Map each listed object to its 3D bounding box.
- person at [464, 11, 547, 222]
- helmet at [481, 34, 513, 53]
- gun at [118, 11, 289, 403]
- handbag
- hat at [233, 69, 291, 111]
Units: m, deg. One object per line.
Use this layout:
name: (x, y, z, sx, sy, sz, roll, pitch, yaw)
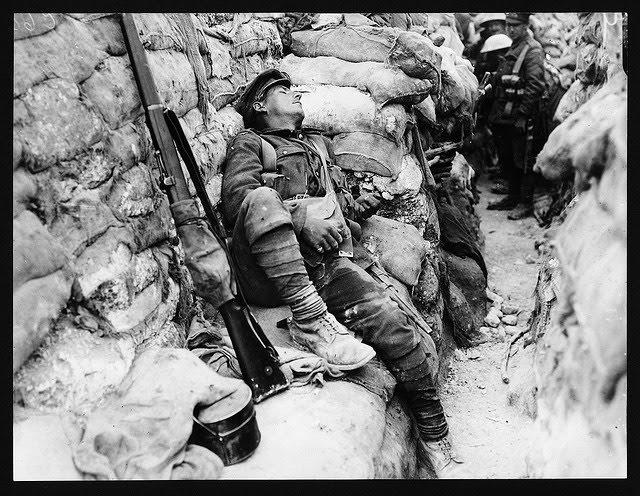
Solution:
person: (1.922, -1.161, 5.826, 0.401, 1.690, 0.652, -16, 18, -19)
helmet: (1.702, -2.007, 5.761, 0.193, 0.171, 0.423, -16, 18, -17)
gun: (-0.508, -0.143, 2.503, 0.197, 1.921, 0.293, -17, -4, 2)
handbag: (-0.034, -0.228, 2.845, 0.251, 0.632, 0.075, -23, 36, -15)
hat: (-0.344, -0.902, 3.375, 0.273, 0.112, 0.214, -33, -6, 12)
